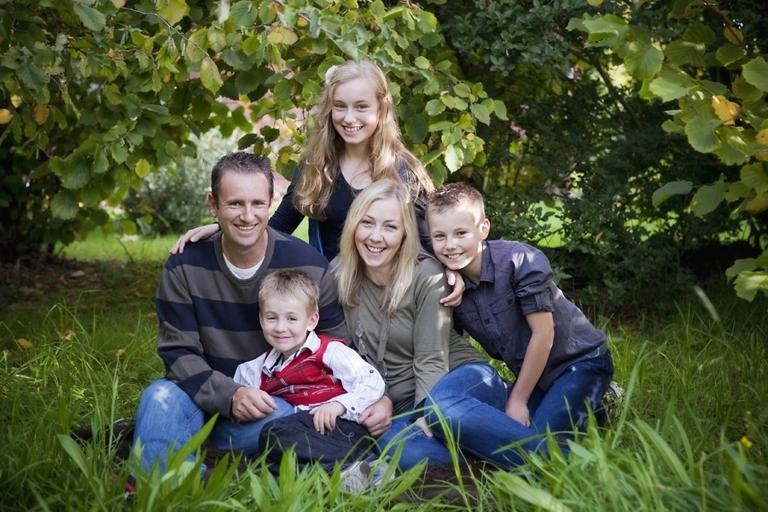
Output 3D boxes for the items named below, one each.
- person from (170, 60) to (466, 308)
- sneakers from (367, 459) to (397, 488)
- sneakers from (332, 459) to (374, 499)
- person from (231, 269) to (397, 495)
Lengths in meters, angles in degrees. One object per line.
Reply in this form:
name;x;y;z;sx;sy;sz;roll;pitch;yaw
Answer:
person;-0.263;-0.446;4.467;2.174;1.613;0.785;5;14;12
sneakers;-0.012;1.082;3.337;0.172;0.177;0.096;1;-3;-5
sneakers;-0.148;1.109;3.351;0.083;0.100;0.249;15;13;21
person;-0.424;0.668;3.696;0.684;1.243;0.931;2;-18;-36
